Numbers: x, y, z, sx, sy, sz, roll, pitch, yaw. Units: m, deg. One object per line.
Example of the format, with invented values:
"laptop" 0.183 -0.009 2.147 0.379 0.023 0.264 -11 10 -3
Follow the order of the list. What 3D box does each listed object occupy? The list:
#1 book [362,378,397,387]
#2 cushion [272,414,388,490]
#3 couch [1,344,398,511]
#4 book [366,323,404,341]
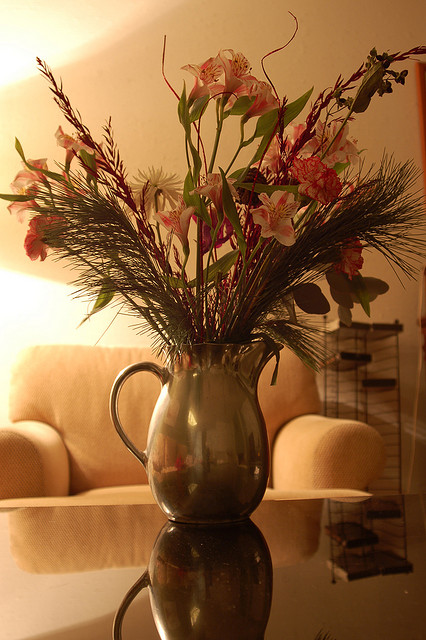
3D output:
"book" 0.695 0.257 2.068 0.140 0.034 0.024 1 14 5
"cushion" 0.298 0.341 1.304 0.296 0.235 0.287 -9 -7 20
"couch" -0.096 0.227 1.069 0.549 0.452 0.429 2 -20 -6
"book" 0.708 0.051 2.091 0.105 0.021 0.100 8 -18 -24
